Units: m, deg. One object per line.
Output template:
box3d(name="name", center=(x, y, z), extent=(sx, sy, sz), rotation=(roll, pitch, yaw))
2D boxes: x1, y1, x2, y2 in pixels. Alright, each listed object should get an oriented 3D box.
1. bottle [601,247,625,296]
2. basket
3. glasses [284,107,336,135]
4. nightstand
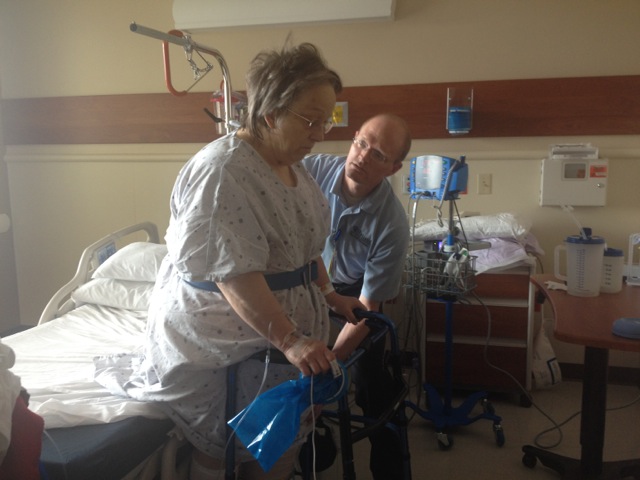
box3d(name="bottle", center=(1.367, 0.146, 2.492), extent=(0.123, 0.205, 0.119), rotation=(-1, 5, 0))
box3d(name="basket", center=(0.633, 0.172, 2.727), extent=(0.245, 0.179, 0.260), rotation=(0, -2, 24))
box3d(name="glasses", center=(-0.043, -0.412, 1.816), extent=(0.135, 0.047, 0.132), rotation=(43, 37, 17))
box3d(name="nightstand", center=(1.032, 0.510, 3.517), extent=(0.842, 1.245, 0.748), rotation=(0, 2, 14))
